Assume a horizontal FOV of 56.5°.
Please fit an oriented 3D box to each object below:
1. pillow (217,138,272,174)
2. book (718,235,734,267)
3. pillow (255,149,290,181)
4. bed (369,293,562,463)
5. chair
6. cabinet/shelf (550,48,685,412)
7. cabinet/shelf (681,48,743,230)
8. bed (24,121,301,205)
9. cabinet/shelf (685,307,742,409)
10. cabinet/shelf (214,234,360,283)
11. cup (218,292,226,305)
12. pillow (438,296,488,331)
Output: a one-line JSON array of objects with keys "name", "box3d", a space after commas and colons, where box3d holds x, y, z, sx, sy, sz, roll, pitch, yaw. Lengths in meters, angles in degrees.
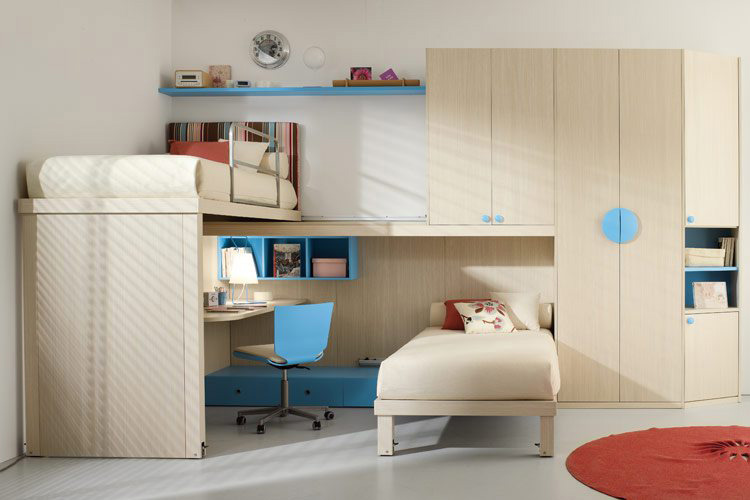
[{"name": "pillow", "box3d": [-1.183, -0.897, 6.613, 0.351, 0.312, 0.107, 12, 18, 30]}, {"name": "book", "box3d": [3.448, 0.023, 6.864, 0.108, 0.273, 0.323, 0, 1, 14]}, {"name": "pillow", "box3d": [-1.013, -0.857, 7.022, 0.329, 0.215, 0.254, -1, -1, 32]}, {"name": "bed", "box3d": [0.845, 1.128, 5.970, 1.313, 0.853, 2.106, -1, -2, 8]}, {"name": "chair", "box3d": [-0.867, 1.048, 6.647, 1.076, 1.379, 1.221, 0, -2, 35]}, {"name": "cabinet/shelf", "box3d": [2.312, -0.230, 6.620, 1.175, 3.276, 0.713, 0, 10, 8]}, {"name": "cabinet/shelf", "box3d": [3.222, -1.062, 6.695, 0.686, 1.656, 0.267, -4, 10, -12]}, {"name": "bed", "box3d": [-1.786, -0.815, 6.334, 1.935, 0.677, 1.873, 4, 8, 11]}, {"name": "cabinet/shelf", "box3d": [3.213, 1.006, 6.685, 0.664, 0.849, 0.183, -4, 10, -15]}, {"name": "cabinet/shelf", "box3d": [-0.915, 0.079, 7.280, 1.475, 0.436, 0.325, 0, 10, 7]}, {"name": "cup", "box3d": [-1.469, 0.471, 6.752, 0.108, 0.140, 0.111, -1, 0, 0]}, {"name": "pillow", "box3d": [0.818, 0.630, 6.902, 0.364, 0.308, 0.109, 4, -20, -33]}]
